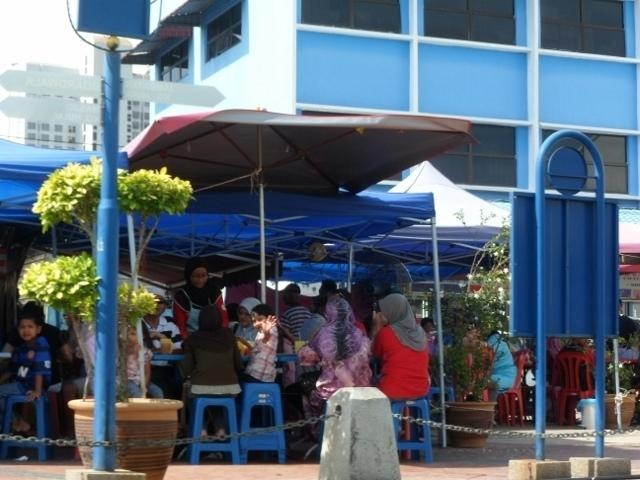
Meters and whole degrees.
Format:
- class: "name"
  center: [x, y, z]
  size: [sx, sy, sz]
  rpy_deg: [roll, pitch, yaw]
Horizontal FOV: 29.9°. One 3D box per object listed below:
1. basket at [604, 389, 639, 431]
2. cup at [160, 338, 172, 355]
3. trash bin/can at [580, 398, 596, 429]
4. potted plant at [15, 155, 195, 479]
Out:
- class: "basket"
  center: [4.905, 2.836, 19.641]
  size: [0.628, 0.717, 0.714]
  rpy_deg: [0, -3, -5]
- class: "cup"
  center: [-1.960, 1.346, 15.165]
  size: [0.147, 0.167, 0.178]
  rpy_deg: [0, -11, -3]
- class: "trash bin/can"
  center: [4.257, 2.795, 19.167]
  size: [0.206, 0.481, 0.522]
  rpy_deg: [0, -6, 5]
- class: "potted plant"
  center: [-2.461, 0.488, 13.583]
  size: [2.746, 3.370, 2.315]
  rpy_deg: [1, 0, -13]
